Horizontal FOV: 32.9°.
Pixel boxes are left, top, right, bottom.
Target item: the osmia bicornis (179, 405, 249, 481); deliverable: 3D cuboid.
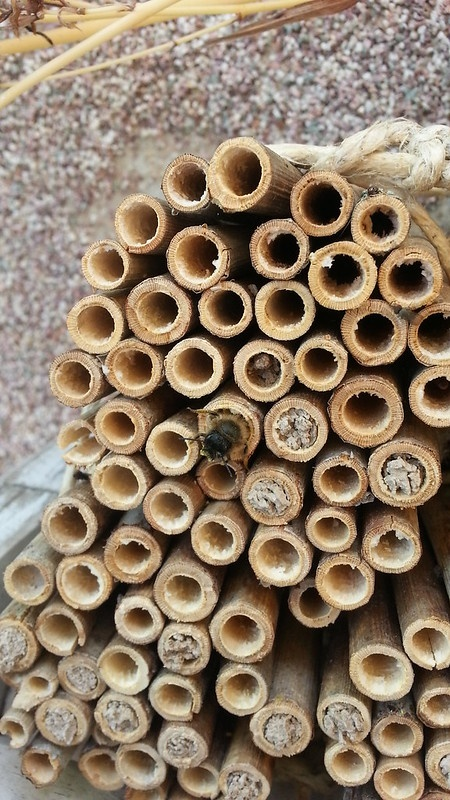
[{"bbox_3d":[-0.012,0.072,1.251,0.095,0.098,0.073,16,53,24],"label":"osmia bicornis"}]
